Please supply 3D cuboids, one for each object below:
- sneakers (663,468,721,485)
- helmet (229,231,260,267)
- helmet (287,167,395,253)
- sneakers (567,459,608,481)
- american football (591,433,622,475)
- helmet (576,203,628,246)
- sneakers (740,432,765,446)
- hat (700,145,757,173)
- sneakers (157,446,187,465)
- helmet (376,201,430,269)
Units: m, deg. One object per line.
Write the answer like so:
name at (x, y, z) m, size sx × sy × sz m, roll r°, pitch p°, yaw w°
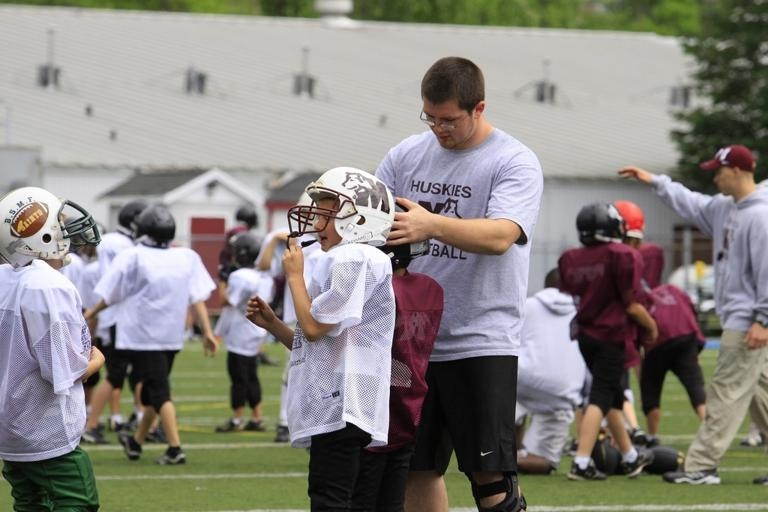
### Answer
sneakers at (2.228, 1.604, 10.426) m, size 0.388 × 0.159 × 0.131 m, roll 1°, pitch -25°, yaw 12°
helmet at (-1.431, -0.062, 14.591) m, size 0.307 × 0.337 × 0.366 m, roll 20°, pitch -4°, yaw -23°
helmet at (-0.292, -0.294, 8.968) m, size 0.641 × 0.442 × 0.446 m, roll 2°, pitch -6°, yaw -10°
sneakers at (1.577, 1.674, 11.159) m, size 0.353 × 0.139 × 0.113 m, roll 3°, pitch -2°, yaw -7°
american football at (1.751, 1.553, 11.187) m, size 0.089 × 0.110 × 0.264 m, roll 20°, pitch -56°, yaw -42°
helmet at (1.707, -0.267, 11.371) m, size 0.398 × 0.384 × 0.478 m, roll -3°, pitch -7°, yaw 38°
sneakers at (2.695, 1.328, 10.494) m, size 0.216 × 0.085 × 0.074 m, roll 6°, pitch -16°, yaw -19°
hat at (2.491, -0.716, 10.411) m, size 0.328 × 0.161 × 0.205 m, roll 8°, pitch 10°, yaw 14°
sneakers at (-1.514, 1.409, 10.179) m, size 0.129 × 0.145 × 0.358 m, roll 6°, pitch -6°, yaw -25°
helmet at (0.038, -0.113, 8.981) m, size 0.440 × 0.338 × 0.307 m, roll 11°, pitch 6°, yaw 2°
